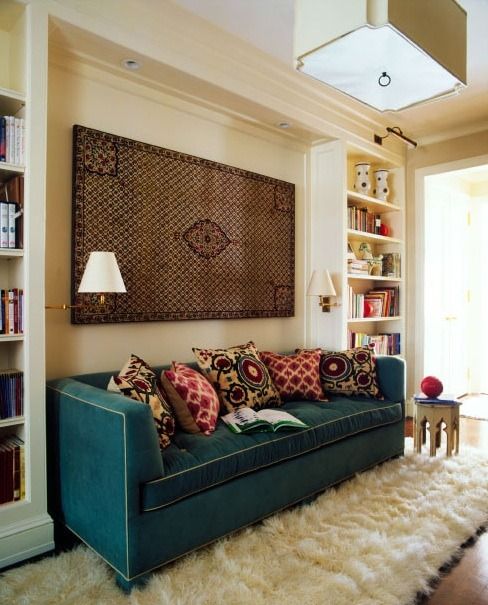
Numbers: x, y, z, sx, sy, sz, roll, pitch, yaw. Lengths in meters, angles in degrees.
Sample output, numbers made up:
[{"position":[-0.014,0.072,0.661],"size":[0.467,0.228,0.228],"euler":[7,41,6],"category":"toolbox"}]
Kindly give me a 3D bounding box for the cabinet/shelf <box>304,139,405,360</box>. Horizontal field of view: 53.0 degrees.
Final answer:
[{"position":[0.968,-0.407,4.394],"size":[0.400,1.854,1.405],"euler":[2,2,42],"category":"cabinet/shelf"}]

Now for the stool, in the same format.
[{"position":[1.240,0.835,3.349],"size":[0.392,0.412,0.374],"euler":[1,-5,-4],"category":"stool"}]

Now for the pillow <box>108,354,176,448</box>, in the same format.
[{"position":[-0.458,0.439,2.229],"size":[0.194,0.156,0.427],"euler":[-1,27,-34],"category":"pillow"}]

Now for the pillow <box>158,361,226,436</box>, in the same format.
[{"position":[-0.255,0.420,2.474],"size":[0.275,0.289,0.534],"euler":[-1,0,5],"category":"pillow"}]

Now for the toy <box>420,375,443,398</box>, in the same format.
[{"position":[1.275,0.568,3.375],"size":[0.142,0.166,0.154],"euler":[-8,7,33],"category":"toy"}]

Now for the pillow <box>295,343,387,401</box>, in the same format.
[{"position":[0.654,0.414,3.412],"size":[0.537,0.541,0.143],"euler":[2,39,12],"category":"pillow"}]

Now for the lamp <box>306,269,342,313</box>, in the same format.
[{"position":[0.609,-0.083,3.879],"size":[0.240,0.356,0.261],"euler":[-1,-1,42],"category":"lamp"}]

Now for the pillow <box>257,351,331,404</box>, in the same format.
[{"position":[0.328,0.496,3.266],"size":[0.465,0.340,0.200],"euler":[0,17,-26],"category":"pillow"}]

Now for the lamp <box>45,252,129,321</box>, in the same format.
[{"position":[-0.732,-0.103,2.384],"size":[0.346,0.244,0.205],"euler":[-1,-1,-4],"category":"lamp"}]
